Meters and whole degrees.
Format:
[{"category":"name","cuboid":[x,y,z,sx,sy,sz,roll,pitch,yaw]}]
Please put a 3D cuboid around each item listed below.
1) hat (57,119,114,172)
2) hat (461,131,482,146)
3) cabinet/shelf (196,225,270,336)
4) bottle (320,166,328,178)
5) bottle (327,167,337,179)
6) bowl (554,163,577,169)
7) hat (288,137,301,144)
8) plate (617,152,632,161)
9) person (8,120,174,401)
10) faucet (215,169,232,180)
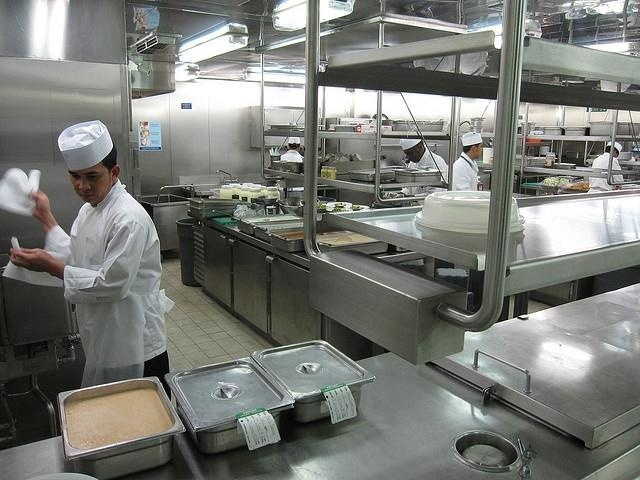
[{"category":"hat","cuboid":[-1.165,-0.466,2.194,0.232,0.235,0.231,-9,15,-24]},{"category":"hat","cuboid":[1.926,-1.253,5.600,0.221,0.124,0.214,-15,15,-33]},{"category":"cabinet/shelf","cuboid":[-0.872,0.431,4.491,0.653,0.654,1.096,-1,9,-36]},{"category":"bottle","cuboid":[0.013,-0.775,5.071,0.134,0.134,0.126,-1,7,-8]},{"category":"bottle","cuboid":[0.137,-0.748,4.974,0.134,0.128,0.119,-2,8,-12]},{"category":"bowl","cuboid":[3.807,-1.134,6.832,0.233,0.055,0.222,-1,4,0]},{"category":"hat","cuboid":[-0.418,-1.604,7.173,0.254,0.106,0.335,-1,12,-5]},{"category":"plate","cuboid":[4.620,-1.250,6.651,0.215,0.094,0.199,-2,8,3]},{"category":"person","cuboid":[-1.158,0.144,2.287,0.632,1.481,0.491,-3,15,2]},{"category":"faucet","cuboid":[-1.661,-1.179,8.002,0.305,0.180,0.430,-12,16,-34]}]
